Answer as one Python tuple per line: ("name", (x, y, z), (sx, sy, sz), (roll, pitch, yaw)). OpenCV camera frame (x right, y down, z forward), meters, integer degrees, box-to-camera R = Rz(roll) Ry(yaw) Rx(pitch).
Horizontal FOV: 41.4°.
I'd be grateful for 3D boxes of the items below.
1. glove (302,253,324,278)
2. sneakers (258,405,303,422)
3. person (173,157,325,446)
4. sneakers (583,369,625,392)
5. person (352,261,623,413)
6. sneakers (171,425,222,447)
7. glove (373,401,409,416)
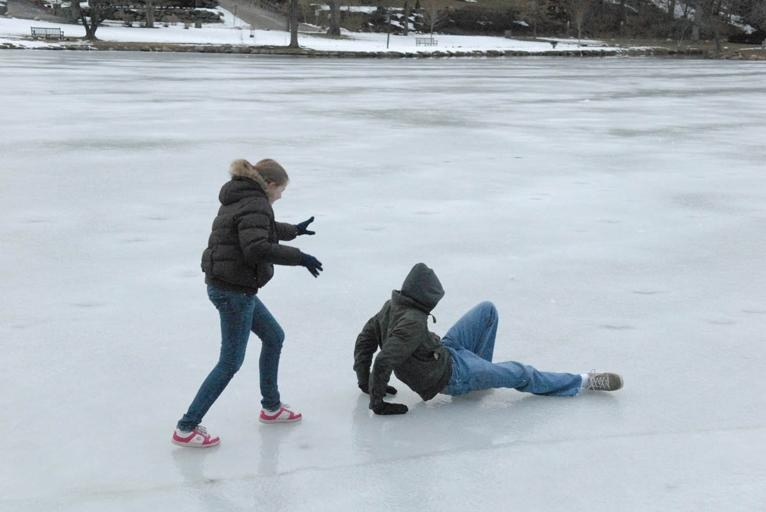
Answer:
("glove", (-0.650, 0.100, 9.380), (0.297, 0.131, 0.088), (14, -6, -7))
("sneakers", (-0.868, 1.348, 8.661), (0.363, 0.133, 0.133), (0, 0, -8))
("person", (-1.148, 0.367, 8.342), (1.266, 2.304, 0.730), (-7, 20, -29))
("sneakers", (1.976, 1.117, 9.060), (0.421, 0.129, 0.153), (-3, 4, -12))
("person", (0.904, 0.713, 8.968), (2.441, 1.087, 0.924), (0, 10, -19))
("sneakers", (-1.523, 1.489, 8.360), (0.418, 0.163, 0.148), (2, 3, -8))
("glove", (0.066, 1.305, 8.682), (0.257, 0.066, 0.131), (0, 6, 0))
